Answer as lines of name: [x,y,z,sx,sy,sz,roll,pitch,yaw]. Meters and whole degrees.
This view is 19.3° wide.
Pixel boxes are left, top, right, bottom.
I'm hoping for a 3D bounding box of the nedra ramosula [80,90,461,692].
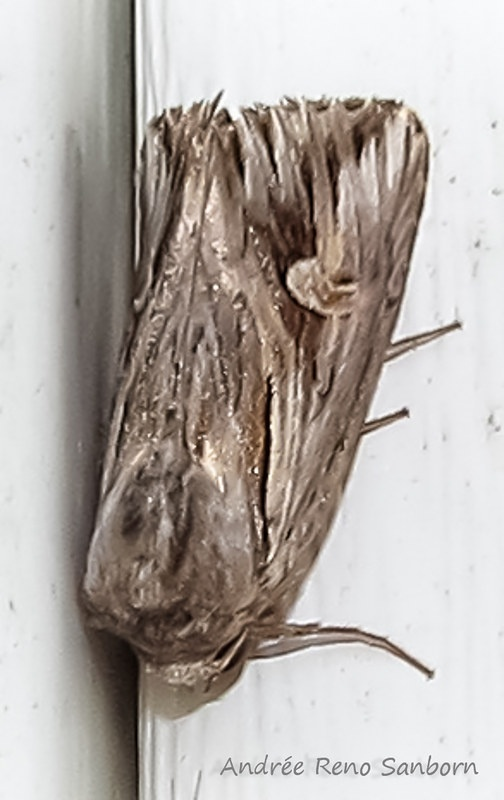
nedra ramosula: [0.000,-0.050,1.745,0.335,0.780,0.201,5,6,22]
